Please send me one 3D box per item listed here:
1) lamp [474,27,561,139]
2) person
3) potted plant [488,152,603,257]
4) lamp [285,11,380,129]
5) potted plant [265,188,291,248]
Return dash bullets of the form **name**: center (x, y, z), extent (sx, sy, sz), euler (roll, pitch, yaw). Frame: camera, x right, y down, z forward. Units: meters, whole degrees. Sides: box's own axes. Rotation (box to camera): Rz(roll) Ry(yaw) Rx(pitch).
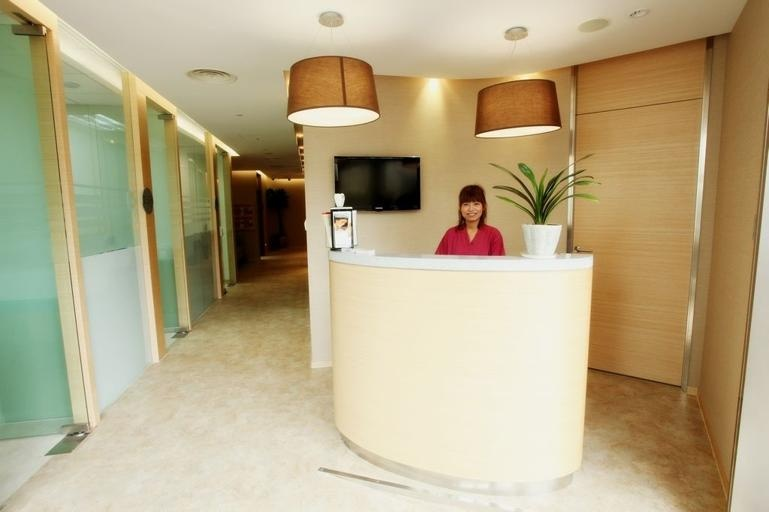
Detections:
- **lamp**: center (1.242, -1.595, 4.435), extent (0.705, 0.921, 0.622), euler (3, 10, 32)
- **person**: center (0.878, -0.387, 5.120), extent (0.910, 0.790, 0.427), euler (0, 3, 7)
- **potted plant**: center (1.212, -0.329, 3.760), extent (0.617, 0.665, 0.954), euler (3, 3, 44)
- **lamp**: center (-0.442, -1.422, 4.064), extent (0.757, 0.542, 0.554), euler (-2, 8, -5)
- **potted plant**: center (-3.781, -1.344, 17.287), extent (0.657, 2.054, 1.057), euler (-2, 8, -2)
